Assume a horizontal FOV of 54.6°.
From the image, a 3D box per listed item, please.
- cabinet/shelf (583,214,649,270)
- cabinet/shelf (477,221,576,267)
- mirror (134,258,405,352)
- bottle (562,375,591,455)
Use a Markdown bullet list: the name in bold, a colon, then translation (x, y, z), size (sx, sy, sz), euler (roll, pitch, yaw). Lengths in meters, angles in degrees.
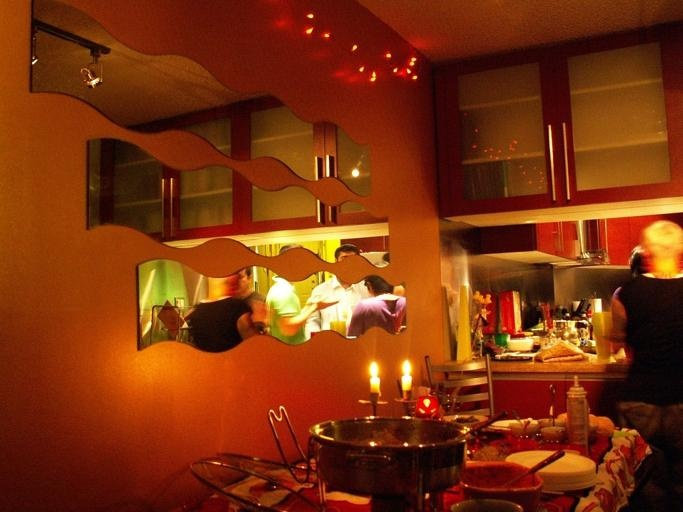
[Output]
- **cabinet/shelf**: translation (2.597, -0.125, 6.044), size (0.484, 0.456, 0.166), euler (-1, -3, -13)
- **cabinet/shelf**: translation (1.239, -0.115, 4.573), size (0.356, 0.266, 1.295), euler (-4, -3, 27)
- **mirror**: translation (-0.184, 0.157, 2.432), size (0.024, 0.306, 1.352), euler (0, 0, 37)
- **bottle**: translation (0.834, 0.555, 2.331), size (0.086, 0.269, 0.083), euler (-5, 9, 1)
